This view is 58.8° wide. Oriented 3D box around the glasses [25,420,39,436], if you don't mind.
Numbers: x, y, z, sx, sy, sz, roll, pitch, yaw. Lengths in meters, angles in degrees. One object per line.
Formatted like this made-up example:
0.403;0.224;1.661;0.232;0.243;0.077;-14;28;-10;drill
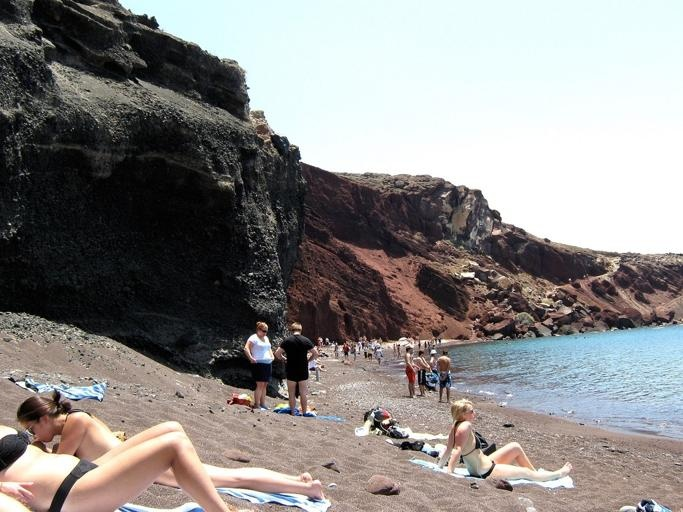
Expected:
-3.456;1.927;6.798;0.052;0.170;0.165;30;-12;-8;glasses

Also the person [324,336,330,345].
-1.314;8.200;57.831;0.821;0.860;0.523;1;-45;-3;person

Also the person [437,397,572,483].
2.594;3.088;9.968;2.459;1.233;0.905;1;-13;-1;person

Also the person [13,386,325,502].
-2.051;2.392;7.236;3.967;1.152;0.843;7;-14;3;person

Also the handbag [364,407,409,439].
0.919;3.469;12.450;0.598;0.219;0.573;12;0;-42;handbag
